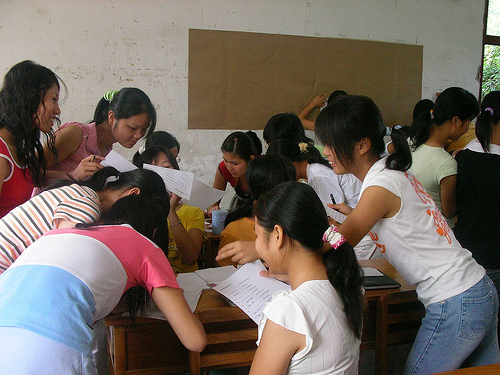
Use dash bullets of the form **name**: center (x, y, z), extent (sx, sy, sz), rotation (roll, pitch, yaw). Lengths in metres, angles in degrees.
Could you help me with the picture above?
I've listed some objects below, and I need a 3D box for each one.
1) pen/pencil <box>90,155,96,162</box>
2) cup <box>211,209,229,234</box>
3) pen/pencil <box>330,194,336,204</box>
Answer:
- **pen/pencil**: center (-0.727, -0.132, 1.878), extent (0.014, 0.019, 0.043), rotation (0, 10, -14)
- **cup**: center (-0.214, 0.231, 2.795), extent (0.140, 0.173, 0.131), rotation (6, 1, 0)
- **pen/pencil**: center (0.489, 0.064, 2.382), extent (0.012, 0.054, 0.012), rotation (-20, -26, 36)
